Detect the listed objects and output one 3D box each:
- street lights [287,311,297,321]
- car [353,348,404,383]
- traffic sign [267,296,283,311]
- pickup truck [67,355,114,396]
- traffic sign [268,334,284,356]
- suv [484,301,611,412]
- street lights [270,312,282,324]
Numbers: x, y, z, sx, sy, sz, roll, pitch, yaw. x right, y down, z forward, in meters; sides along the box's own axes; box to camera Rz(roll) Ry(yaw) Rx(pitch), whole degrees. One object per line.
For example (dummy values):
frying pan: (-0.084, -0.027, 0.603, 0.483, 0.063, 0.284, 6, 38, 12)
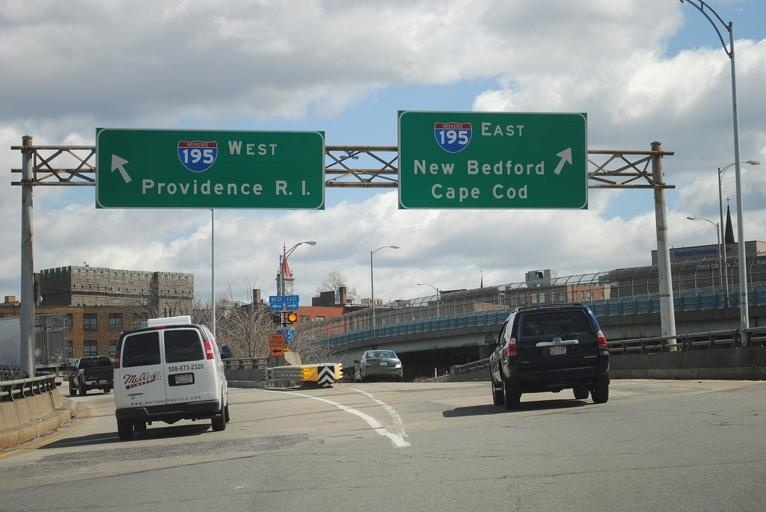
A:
street lights: (-4.203, 2.801, 44.067, 0.402, 0.390, 0.095, 0, 0, 30)
car: (-0.299, 5.499, 48.414, 1.743, 1.554, 2.329, -3, -4, -17)
traffic sign: (-5.105, 2.274, 45.852, 0.627, 0.676, 1.162, -4, -4, -6)
pickup truck: (-14.570, 5.948, 48.026, 1.970, 1.817, 2.407, -3, -4, -20)
traffic sign: (-5.267, 4.341, 47.533, 0.674, 1.124, 0.848, -4, -4, -5)
suv: (4.628, 2.855, 28.163, 3.089, 2.787, 5.441, -5, -3, 1)
street lights: (-4.905, 2.818, 44.020, 0.376, 0.516, 0.487, 0, -2, -12)
